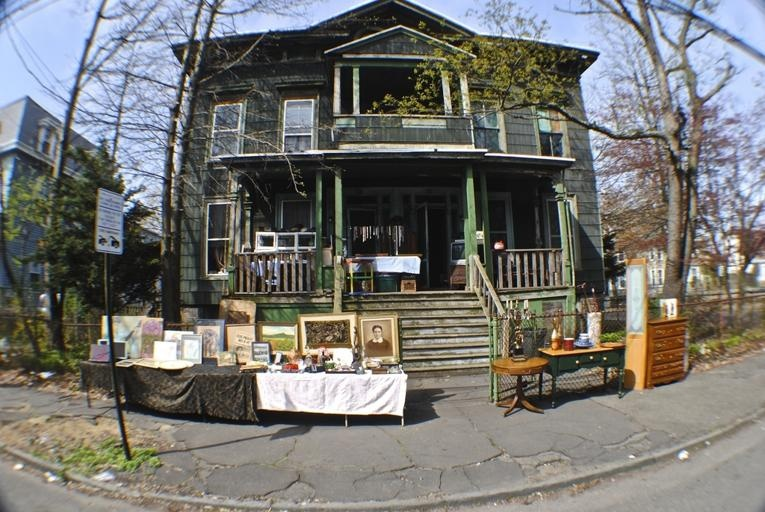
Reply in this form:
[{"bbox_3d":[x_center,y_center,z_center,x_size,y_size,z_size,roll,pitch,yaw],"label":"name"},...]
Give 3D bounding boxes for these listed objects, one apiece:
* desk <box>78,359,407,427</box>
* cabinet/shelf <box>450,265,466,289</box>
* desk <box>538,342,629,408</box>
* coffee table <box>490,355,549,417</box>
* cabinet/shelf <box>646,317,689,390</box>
[{"bbox_3d":[-3.945,3.287,13.218,6.208,1.302,0.901,3,-5,-7],"label":"desk"},{"bbox_3d":[2.433,0.658,17.857,0.265,0.727,0.618,0,-4,-41],"label":"cabinet/shelf"},{"bbox_3d":[4.851,2.781,13.685,1.825,1.078,0.677,-5,-6,-13],"label":"desk"},{"bbox_3d":[3.209,3.006,13.300,1.306,1.139,1.261,-4,1,8],"label":"coffee table"},{"bbox_3d":[6.955,2.396,14.317,1.512,1.626,0.621,-2,4,-30],"label":"cabinet/shelf"}]
